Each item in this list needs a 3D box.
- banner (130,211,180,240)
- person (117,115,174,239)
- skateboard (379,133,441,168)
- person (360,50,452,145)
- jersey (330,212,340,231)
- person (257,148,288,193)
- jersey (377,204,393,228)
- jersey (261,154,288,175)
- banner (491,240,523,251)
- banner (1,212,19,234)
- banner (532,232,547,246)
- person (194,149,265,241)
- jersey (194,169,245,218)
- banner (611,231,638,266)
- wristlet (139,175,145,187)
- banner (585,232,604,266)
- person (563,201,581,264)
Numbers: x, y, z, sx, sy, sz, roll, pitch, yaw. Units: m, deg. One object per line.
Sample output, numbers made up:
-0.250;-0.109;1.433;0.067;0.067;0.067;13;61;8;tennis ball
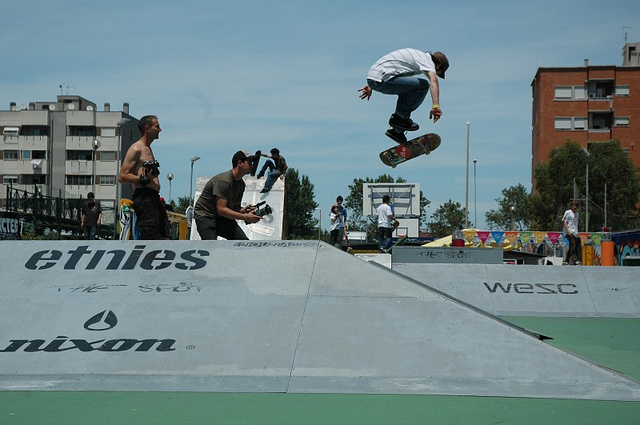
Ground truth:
-3.272;0.199;17.280;0.847;0.692;1.080;1;-3;1;banner
-2.590;-0.531;12.689;0.793;1.511;0.540;1;0;-21;person
1.587;-1.086;14.744;1.197;0.306;0.170;-20;28;-8;skateboard
1.454;-1.946;14.088;1.174;1.410;0.972;1;0;16;person
0.412;0.228;21.176;0.212;0.405;0.174;1;0;14;jersey
-1.142;-1.036;19.483;0.820;1.019;0.612;15;9;6;person
1.633;0.077;20.777;0.342;0.523;0.463;1;0;5;jersey
-0.899;-1.117;19.486;0.275;0.397;0.546;2;1;38;jersey
5.685;1.013;25.666;0.639;0.207;0.651;-5;-8;38;banner
-10.426;0.320;28.463;0.103;0.638;0.776;-13;-3;16;banner
6.692;0.790;25.714;0.465;0.431;0.022;1;-2;-2;banner
-1.352;0.032;12.922;1.191;1.898;0.905;2;2;-3;person
-1.509;-0.293;12.819;0.733;0.617;0.380;1;0;-9;jersey
9.027;1.070;24.934;0.663;1.030;1.108;-1;0;-6;banner
-2.612;-0.485;12.505;0.074;0.138;0.083;1;0;-11;wristlet
8.224;1.042;25.322;0.528;0.981;0.968;1;0;17;banner
6.178;0.480;20.725;0.353;1.514;0.840;2;0;17;person
